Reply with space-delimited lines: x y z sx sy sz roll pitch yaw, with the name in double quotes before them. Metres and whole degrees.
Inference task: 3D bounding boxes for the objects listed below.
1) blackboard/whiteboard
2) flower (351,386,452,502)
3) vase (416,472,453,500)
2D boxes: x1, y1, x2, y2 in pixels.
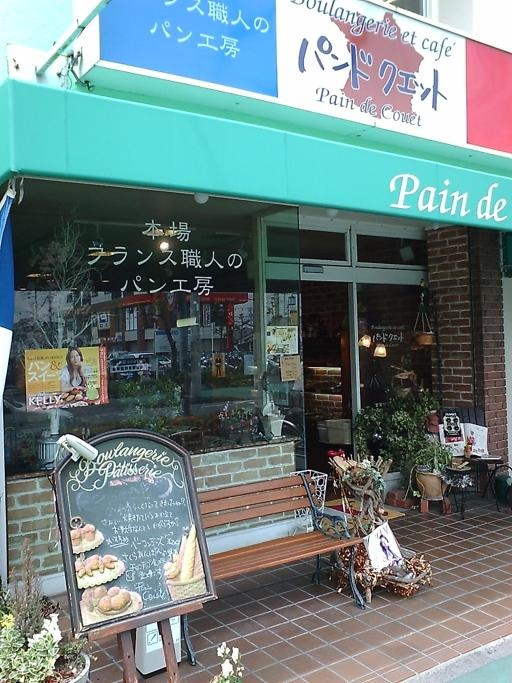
"blackboard/whiteboard" -0.596 0.878 2.840 0.738 0.913 0.090 4 -31 -37
"flower" 1.899 1.180 7.314 1.000 1.221 0.925 1 5 -21
"vase" 2.074 1.646 6.776 0.345 0.261 0.348 1 -7 -6
